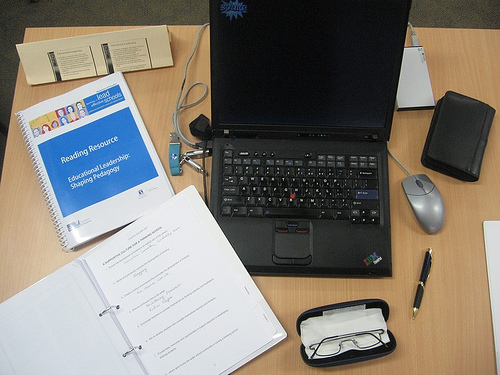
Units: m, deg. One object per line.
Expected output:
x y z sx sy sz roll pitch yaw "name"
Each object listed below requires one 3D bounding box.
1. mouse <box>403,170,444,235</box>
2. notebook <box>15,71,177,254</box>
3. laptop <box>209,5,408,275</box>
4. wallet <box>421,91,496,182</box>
0.442 0.032 1.115 0.076 0.039 0.159 -10 73 -6 "mouse"
-0.403 -0.048 1.126 0.315 0.091 0.422 -20 83 -2 "notebook"
0.139 -0.104 1.057 0.478 0.448 0.441 1 45 4 "laptop"
0.539 -0.140 1.109 0.154 0.053 0.235 18 83 8 "wallet"
